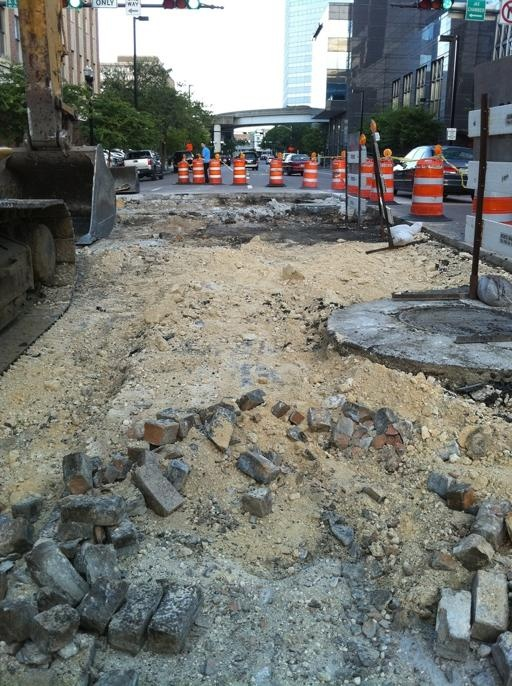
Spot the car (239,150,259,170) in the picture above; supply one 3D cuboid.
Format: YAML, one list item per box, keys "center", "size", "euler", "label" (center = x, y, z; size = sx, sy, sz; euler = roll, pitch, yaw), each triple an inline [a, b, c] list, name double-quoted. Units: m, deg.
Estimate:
- center: [-0.481, -18.507, 50.239]
  size: [1.252, 1.769, 2.337]
  euler: [1, 19, 6]
  label: "car"

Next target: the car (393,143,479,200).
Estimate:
- center: [6.683, -6.488, 18.632]
  size: [2.860, 1.940, 8.444]
  euler: [4, 20, 14]
  label: "car"
